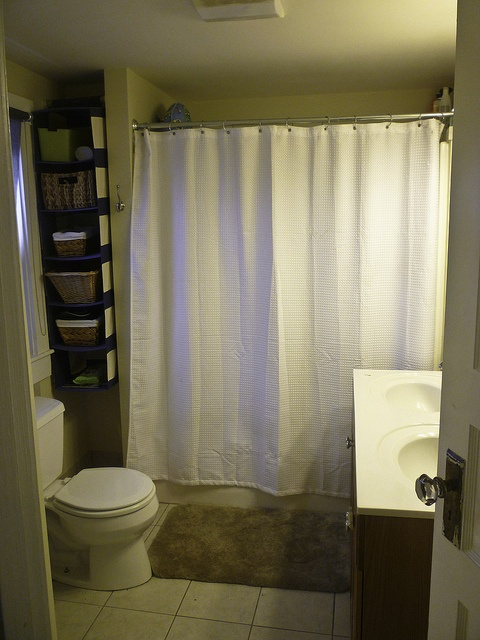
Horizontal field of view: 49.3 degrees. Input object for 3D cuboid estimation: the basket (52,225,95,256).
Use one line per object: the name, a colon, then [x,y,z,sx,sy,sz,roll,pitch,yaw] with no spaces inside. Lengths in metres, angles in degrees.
basket: [-0.831,-0.378,2.645,0.206,0.123,0.134,-4,11,-18]

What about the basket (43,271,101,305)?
basket: [-0.840,-0.158,2.638,0.240,0.164,0.097,1,10,14]

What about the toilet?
toilet: [-0.688,0.773,2.362,0.612,0.775,0.428,1,6,7]

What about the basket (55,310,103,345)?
basket: [-0.824,0.041,2.652,0.154,0.136,0.219,0,2,3]

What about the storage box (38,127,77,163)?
storage box: [-0.897,-0.866,2.628,0.153,0.169,0.164,2,16,6]

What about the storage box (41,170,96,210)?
storage box: [-0.857,-0.636,2.648,0.259,0.193,0.147,-5,0,-17]
